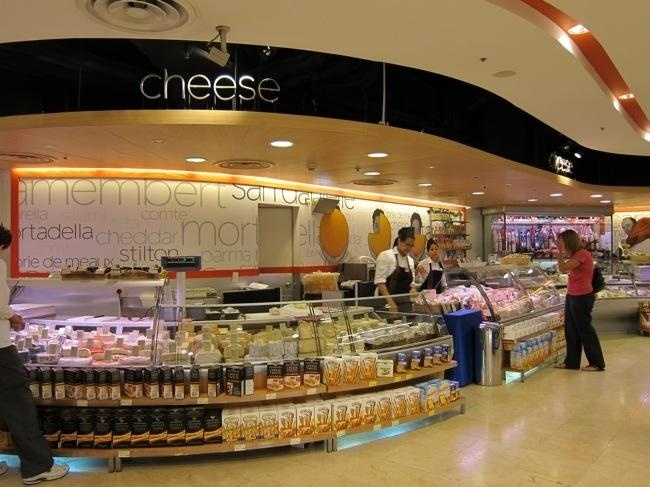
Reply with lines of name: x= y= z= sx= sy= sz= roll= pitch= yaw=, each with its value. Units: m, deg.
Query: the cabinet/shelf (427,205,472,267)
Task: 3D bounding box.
cabinet/shelf: x=3.169 y=-0.226 z=12.858 sx=1.640 sy=1.838 sz=0.544 roll=1 pitch=-4 yaw=-43

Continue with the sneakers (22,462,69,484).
sneakers: x=-2.574 y=2.104 z=4.581 sx=0.338 sy=0.144 sz=0.136 roll=-3 pitch=4 yaw=-30

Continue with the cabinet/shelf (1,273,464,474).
cabinet/shelf: x=-0.695 y=1.345 z=5.243 sx=4.231 sy=1.476 sz=1.283 roll=-2 pitch=5 yaw=-25

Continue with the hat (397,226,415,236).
hat: x=1.082 y=-0.179 z=6.749 sx=0.135 sy=0.082 sz=0.173 roll=-2 pitch=7 yaw=-25

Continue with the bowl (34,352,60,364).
bowl: x=-2.788 y=1.161 z=4.989 sx=0.162 sy=0.064 sz=0.126 roll=2 pitch=-1 yaw=6
